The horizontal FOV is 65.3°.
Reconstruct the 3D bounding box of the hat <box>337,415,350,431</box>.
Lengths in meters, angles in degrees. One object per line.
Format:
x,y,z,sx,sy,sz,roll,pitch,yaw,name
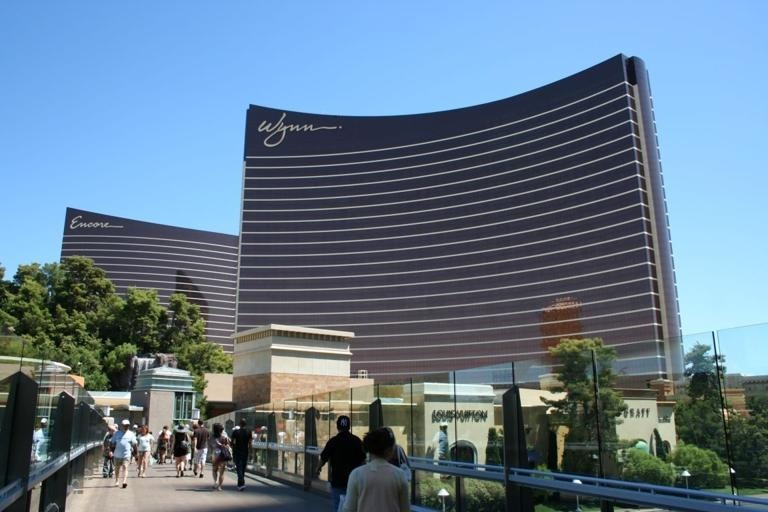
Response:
-0.814,3.343,12.093,0.292,0.281,0.322,0,-10,-4,hat

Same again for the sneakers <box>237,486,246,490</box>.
-4.450,7.207,18.763,0.128,0.143,0.352,14,-40,-25,sneakers
